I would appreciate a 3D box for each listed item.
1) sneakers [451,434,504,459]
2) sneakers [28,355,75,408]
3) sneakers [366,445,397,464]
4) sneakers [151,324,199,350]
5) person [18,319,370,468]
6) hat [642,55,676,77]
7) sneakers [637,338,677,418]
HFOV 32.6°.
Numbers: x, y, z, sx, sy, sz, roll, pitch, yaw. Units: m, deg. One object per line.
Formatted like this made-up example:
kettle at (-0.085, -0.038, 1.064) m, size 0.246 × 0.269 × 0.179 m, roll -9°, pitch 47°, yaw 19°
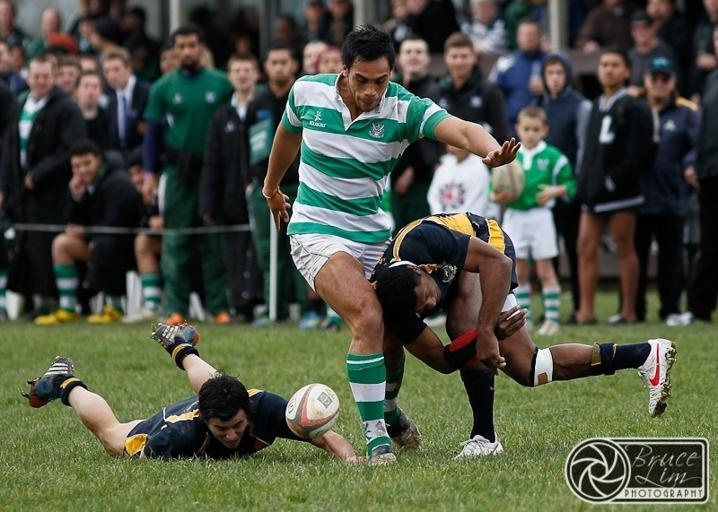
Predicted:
sneakers at (0.839, 1.337, 8.654) m, size 0.380 × 0.171 × 0.149 m, roll -6°, pitch 4°, yaw -17°
sneakers at (-2.270, 0.910, 9.017) m, size 0.262 × 0.427 × 0.165 m, roll 39°, pitch -20°, yaw -26°
sneakers at (0.155, 1.381, 8.471) m, size 0.199 × 0.101 × 0.194 m, roll -2°, pitch 5°, yaw 0°
sneakers at (-1.384, 0.600, 9.229) m, size 0.300 × 0.182 × 0.145 m, roll 4°, pitch 19°, yaw 8°
person at (-1.328, 1.128, 8.816) m, size 1.026 × 0.617 × 1.656 m, roll -15°, pitch 23°, yaw -35°
hat at (2.963, -1.868, 12.190) m, size 0.284 × 0.245 × 0.439 m, roll 1°, pitch 4°, yaw 11°
sneakers at (2.105, 0.821, 8.713) m, size 0.255 × 0.621 × 0.206 m, roll -2°, pitch 2°, yaw -2°
